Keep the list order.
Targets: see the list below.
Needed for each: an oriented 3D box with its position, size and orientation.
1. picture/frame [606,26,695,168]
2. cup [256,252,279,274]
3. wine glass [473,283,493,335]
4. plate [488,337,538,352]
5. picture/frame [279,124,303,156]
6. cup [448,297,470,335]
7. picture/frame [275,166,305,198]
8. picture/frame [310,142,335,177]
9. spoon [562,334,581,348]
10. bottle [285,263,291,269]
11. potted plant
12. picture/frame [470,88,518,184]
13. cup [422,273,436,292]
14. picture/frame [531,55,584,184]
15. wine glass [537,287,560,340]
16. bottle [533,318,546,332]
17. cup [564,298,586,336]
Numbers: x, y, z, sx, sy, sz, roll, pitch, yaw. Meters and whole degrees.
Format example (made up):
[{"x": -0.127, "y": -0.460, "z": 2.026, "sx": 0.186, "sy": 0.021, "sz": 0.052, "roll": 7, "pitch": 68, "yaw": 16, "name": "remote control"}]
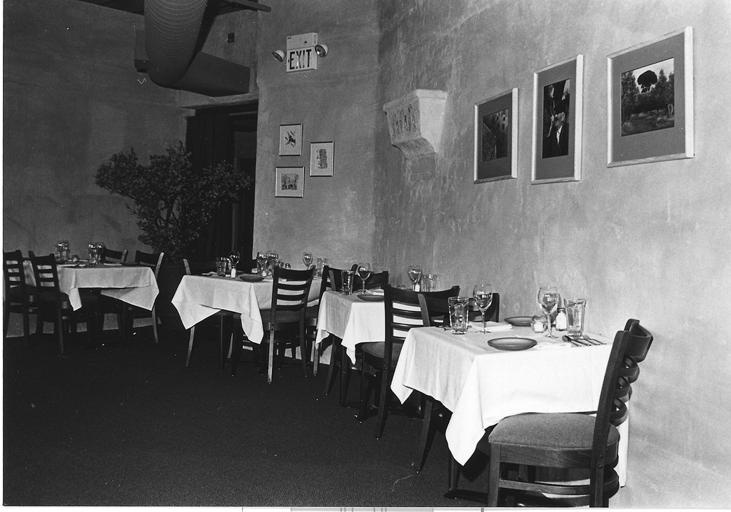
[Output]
[{"x": 1.714, "y": -0.937, "z": 3.603, "sx": 0.071, "sy": 0.761, "sz": 0.599, "roll": -4, "pitch": 9, "yaw": -30, "name": "picture/frame"}, {"x": -1.144, "y": 0.086, "z": 6.820, "sx": 0.224, "sy": 0.277, "sz": 0.247, "roll": 0, "pitch": -1, "yaw": 12, "name": "cup"}, {"x": 0.798, "y": 0.352, "z": 4.077, "sx": 0.109, "sy": 0.262, "sz": 0.380, "roll": 2, "pitch": 8, "yaw": 11, "name": "wine glass"}, {"x": 0.900, "y": 0.530, "z": 3.607, "sx": 0.314, "sy": 0.035, "sz": 0.234, "roll": -5, "pitch": 9, "yaw": -37, "name": "plate"}, {"x": -0.959, "y": -1.451, "z": 7.531, "sx": 0.030, "sy": 0.400, "sz": 0.354, "roll": -14, "pitch": 20, "yaw": -37, "name": "picture/frame"}, {"x": 0.608, "y": 0.387, "z": 3.927, "sx": 0.131, "sy": 0.222, "sz": 0.229, "roll": 2, "pitch": 8, "yaw": 10, "name": "cup"}, {"x": -0.933, "y": -0.924, "z": 7.496, "sx": 0.326, "sy": 0.319, "sz": 0.026, "roll": 12, "pitch": 3, "yaw": 35, "name": "picture/frame"}, {"x": -0.514, "y": -1.171, "z": 7.255, "sx": 0.374, "sy": 0.502, "sz": 0.033, "roll": -3, "pitch": -6, "yaw": 39, "name": "picture/frame"}, {"x": 1.273, "y": 0.517, "z": 3.654, "sx": 0.125, "sy": 0.040, "sz": 0.233, "roll": 3, "pitch": 8, "yaw": 18, "name": "spoon"}, {"x": -0.898, "y": 0.129, "z": 6.985, "sx": 0.060, "sy": 0.047, "sz": 0.061, "roll": 2, "pitch": 9, "yaw": 0, "name": "bottle"}, {"x": -2.863, "y": -0.508, "z": 9.300, "sx": 2.058, "sy": 2.146, "sz": 2.000, "roll": 12, "pitch": 6, "yaw": 34, "name": "potted plant"}, {"x": 1.076, "y": -0.984, "z": 4.917, "sx": 0.052, "sy": 0.734, "sz": 0.714, "roll": 0, "pitch": -13, "yaw": -18, "name": "picture/frame"}, {"x": 0.623, "y": 0.260, "z": 5.695, "sx": 0.133, "sy": 0.172, "sz": 0.139, "roll": 2, "pitch": -2, "yaw": 0, "name": "cup"}, {"x": 1.369, "y": -0.949, "z": 4.253, "sx": 0.130, "sy": 0.852, "sz": 0.525, "roll": -2, "pitch": 8, "yaw": -14, "name": "picture/frame"}, {"x": 1.221, "y": 0.351, "z": 3.972, "sx": 0.115, "sy": 0.299, "sz": 0.352, "roll": 3, "pitch": 8, "yaw": 21, "name": "wine glass"}, {"x": 1.149, "y": 0.455, "z": 3.952, "sx": 0.078, "sy": 0.093, "sz": 0.068, "roll": -1, "pitch": -1, "yaw": 13, "name": "bottle"}, {"x": 1.329, "y": 0.385, "z": 3.802, "sx": 0.115, "sy": 0.212, "sz": 0.224, "roll": 3, "pitch": 8, "yaw": 17, "name": "cup"}]
